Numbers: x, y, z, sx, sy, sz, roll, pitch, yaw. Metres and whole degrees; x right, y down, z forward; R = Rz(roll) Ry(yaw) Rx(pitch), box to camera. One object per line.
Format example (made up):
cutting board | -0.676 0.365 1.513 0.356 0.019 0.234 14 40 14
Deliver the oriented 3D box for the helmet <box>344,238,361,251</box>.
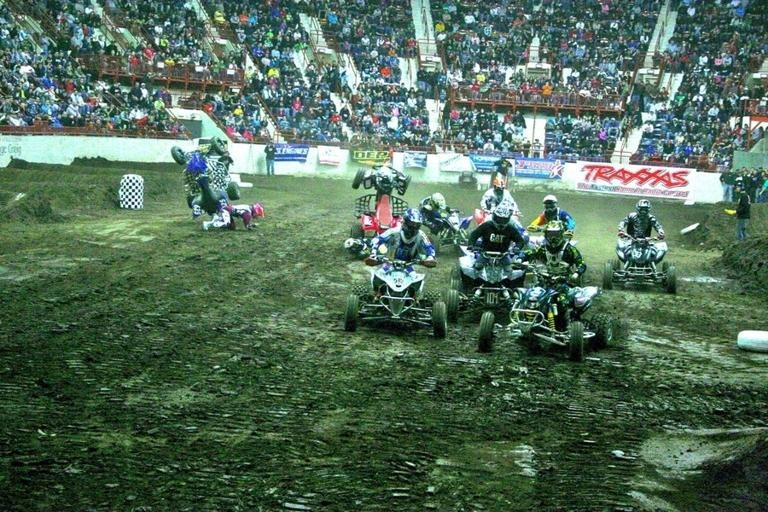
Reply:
helmet | -0.786 -0.312 18.402 0.395 0.270 0.310 -11 -21 32

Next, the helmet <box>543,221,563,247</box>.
helmet | 3.131 -0.385 13.073 0.359 0.449 0.302 2 15 2

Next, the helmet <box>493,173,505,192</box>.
helmet | 2.972 -1.896 18.442 0.359 0.410 0.489 -1 5 -1

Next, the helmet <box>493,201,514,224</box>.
helmet | 2.451 -0.856 14.529 0.417 0.428 0.502 4 22 2

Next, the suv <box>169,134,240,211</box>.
suv | -5.260 -2.352 21.062 1.682 2.407 2.710 -1 15 -12

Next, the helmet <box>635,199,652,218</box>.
helmet | 6.431 -1.200 17.632 0.503 0.547 0.614 0 0 9

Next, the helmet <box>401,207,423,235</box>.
helmet | 0.503 -0.724 13.922 0.378 0.460 0.505 1 55 -10

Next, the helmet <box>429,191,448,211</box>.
helmet | 1.413 -1.429 18.340 0.493 0.476 0.594 9 -1 -16

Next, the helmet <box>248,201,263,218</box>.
helmet | -3.940 -1.394 21.590 0.444 0.468 0.388 19 16 26
